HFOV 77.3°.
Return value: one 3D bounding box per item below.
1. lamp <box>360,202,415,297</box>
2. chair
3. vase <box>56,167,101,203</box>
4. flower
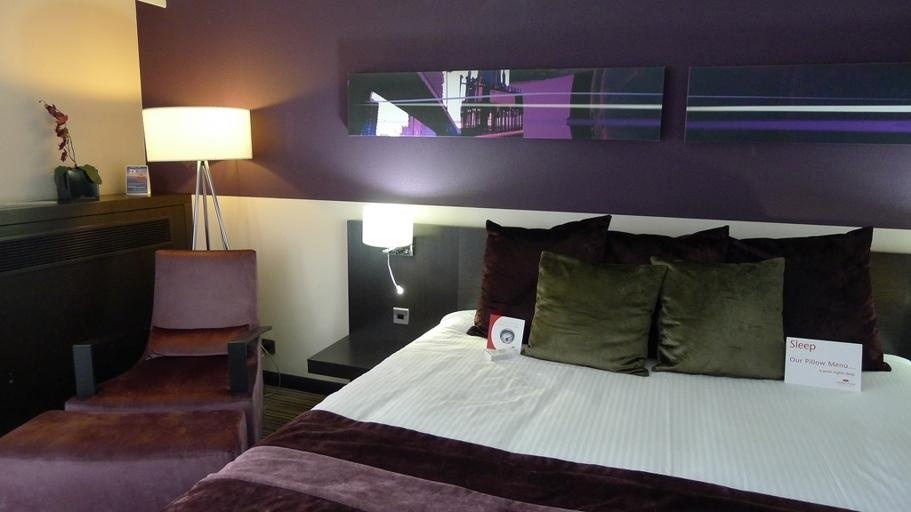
[{"bbox_3d":[-0.430,-0.155,4.511,0.479,0.696,0.444,0,4,4],"label":"lamp"},{"bbox_3d":[-1.838,0.710,3.982,1.163,1.231,1.223,4,14,10],"label":"chair"},{"bbox_3d":[-2.903,-0.556,4.417,0.366,0.233,0.298,-2,10,-28],"label":"vase"},{"bbox_3d":[-2.979,-0.887,4.417,0.330,0.641,0.215,5,11,33],"label":"flower"}]
